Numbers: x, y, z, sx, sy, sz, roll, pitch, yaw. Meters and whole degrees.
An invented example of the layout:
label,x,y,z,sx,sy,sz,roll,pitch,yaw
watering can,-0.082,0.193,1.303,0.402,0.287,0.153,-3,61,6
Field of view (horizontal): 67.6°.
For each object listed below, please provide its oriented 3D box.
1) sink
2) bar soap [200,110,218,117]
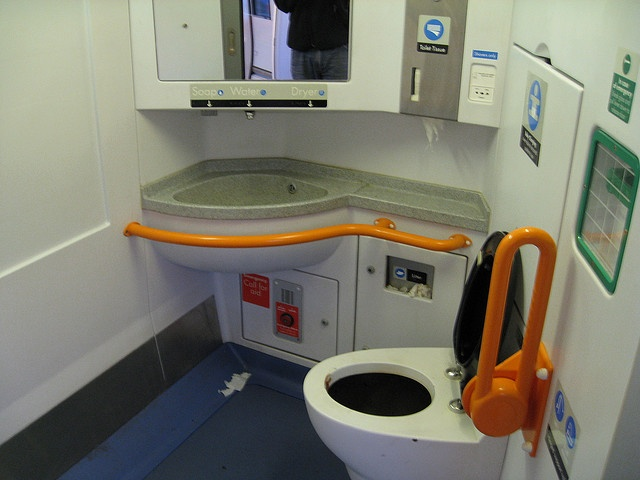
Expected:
label,x,y,z,sx,sy,sz,roll,pitch,yaw
sink,-0.343,-0.239,2.131,0.770,0.156,0.541,4,22,3
bar soap,-0.510,-0.582,2.211,0.080,0.038,0.073,-3,22,-15
